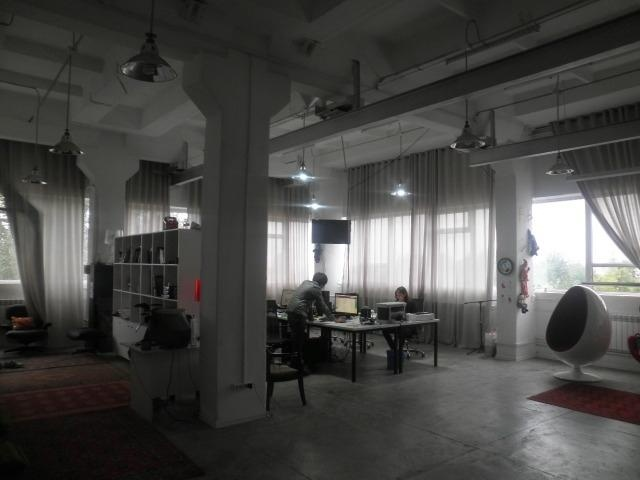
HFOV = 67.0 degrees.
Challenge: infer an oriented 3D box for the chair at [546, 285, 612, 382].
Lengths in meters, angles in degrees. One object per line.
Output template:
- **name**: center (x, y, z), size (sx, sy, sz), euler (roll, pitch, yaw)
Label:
- **chair**: center (3.987, 1.465, 7.525), size (0.894, 1.389, 0.765), euler (-5, -17, 44)

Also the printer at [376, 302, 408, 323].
- **printer**: center (1.189, 1.210, 8.132), size (0.434, 0.308, 0.300), euler (6, -12, -39)

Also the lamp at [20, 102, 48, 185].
- **lamp**: center (-4.954, -1.720, 8.464), size (0.367, 1.470, 0.382), euler (4, 3, -6)

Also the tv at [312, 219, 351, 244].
- **tv**: center (0.251, -0.163, 11.369), size (0.923, 0.630, 0.510), euler (1, -1, -3)

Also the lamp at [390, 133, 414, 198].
- **lamp**: center (1.833, -1.528, 11.033), size (0.479, 1.095, 1.125), euler (1, 3, 9)

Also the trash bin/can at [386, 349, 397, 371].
- **trash bin/can**: center (1.192, 2.021, 8.081), size (0.120, 0.344, 0.311), euler (0, 3, 4)

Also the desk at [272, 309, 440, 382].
- **desk**: center (0.663, 1.577, 8.381), size (1.532, 0.703, 1.639), euler (3, -4, -42)

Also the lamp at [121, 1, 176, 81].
- **lamp**: center (-1.772, -2.095, 4.924), size (0.488, 0.976, 0.743), euler (-1, 3, -25)
